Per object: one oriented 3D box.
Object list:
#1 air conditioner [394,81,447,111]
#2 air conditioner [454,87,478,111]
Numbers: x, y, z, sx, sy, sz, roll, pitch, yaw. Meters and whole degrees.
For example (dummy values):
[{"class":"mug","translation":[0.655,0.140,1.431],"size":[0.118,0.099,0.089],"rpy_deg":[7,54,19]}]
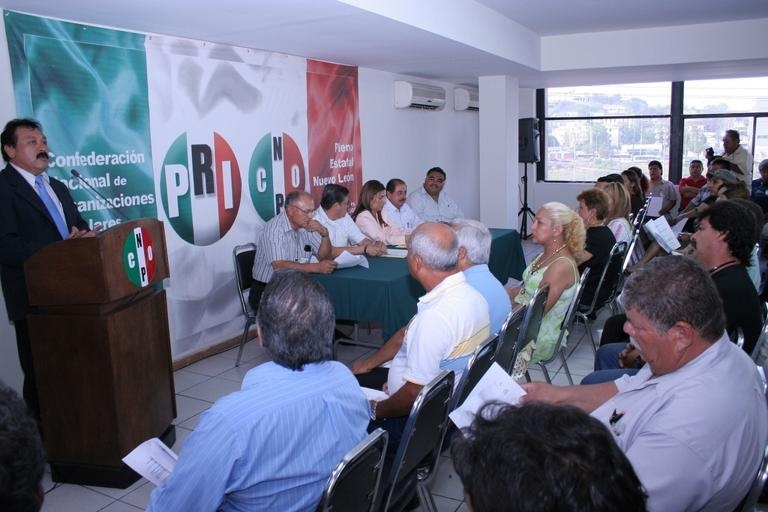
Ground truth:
[{"class":"air conditioner","translation":[0.533,-2.321,7.348],"size":[0.244,0.372,0.948],"rpy_deg":[9,15,39]},{"class":"air conditioner","translation":[1.423,-2.733,8.720],"size":[0.248,0.419,0.544],"rpy_deg":[9,15,36]}]
